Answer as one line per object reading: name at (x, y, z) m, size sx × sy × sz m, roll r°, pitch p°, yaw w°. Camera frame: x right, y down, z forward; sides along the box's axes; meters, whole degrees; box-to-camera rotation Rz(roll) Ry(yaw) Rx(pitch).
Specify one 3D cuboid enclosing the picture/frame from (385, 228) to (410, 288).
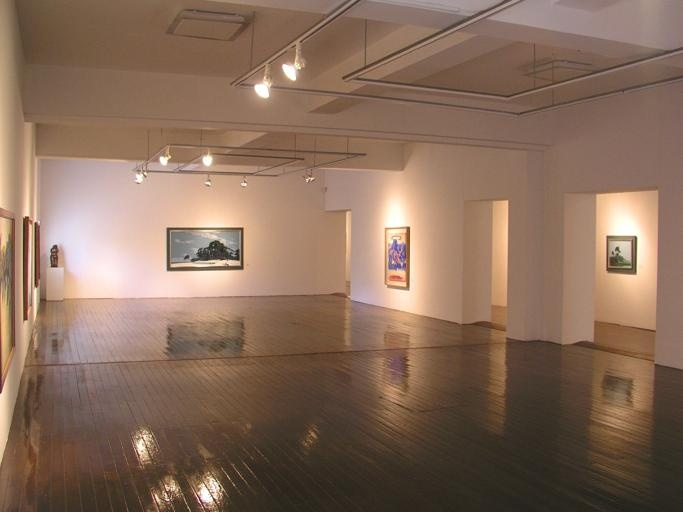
picture/frame at (1.873, 0.054, 15.511) m, size 0.161 × 2.393 × 1.828 m, roll 2°, pitch -3°, yaw -21°

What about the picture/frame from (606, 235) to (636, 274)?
picture/frame at (7.578, -0.059, 12.684) m, size 0.125 × 1.320 × 0.968 m, roll 0°, pitch -1°, yaw -28°
